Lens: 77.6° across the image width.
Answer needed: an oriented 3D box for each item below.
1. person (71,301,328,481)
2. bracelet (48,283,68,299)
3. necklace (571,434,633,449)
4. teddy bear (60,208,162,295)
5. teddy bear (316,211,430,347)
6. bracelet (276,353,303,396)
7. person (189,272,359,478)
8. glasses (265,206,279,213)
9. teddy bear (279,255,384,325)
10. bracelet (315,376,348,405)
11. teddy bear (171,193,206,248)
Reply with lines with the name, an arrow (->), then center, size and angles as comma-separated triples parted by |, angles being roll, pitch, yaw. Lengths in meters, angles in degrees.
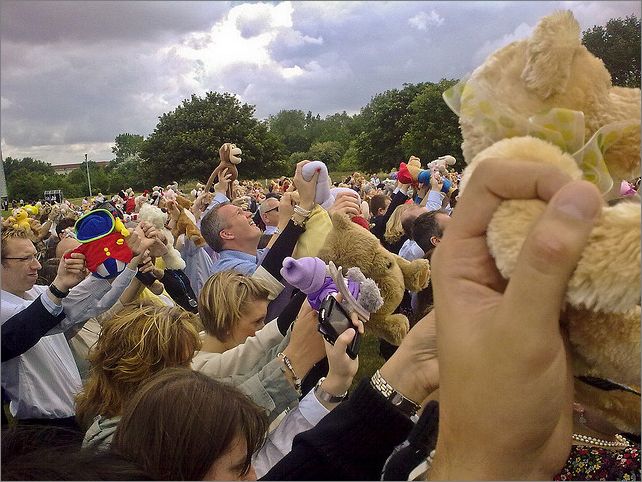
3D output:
person -> -0.647, 0.640, 2.506 | 1.410, 0.800, 0.471 | -16, 29, -14
bracelet -> -1.789, 0.346, 2.744 | 0.117, 0.083, 0.125 | 29, 6, 41
necklace -> 0.745, 0.534, 1.070 | 0.118, 0.030, 0.092 | 8, -18, 2
teddy bear -> -1.578, 0.006, 3.004 | 0.767, 0.554, 0.248 | -21, 9, -34
teddy bear -> 0.267, 0.220, 2.373 | 0.854, 0.727, 0.588 | -2, -1, -30
bracelet -> -0.141, 0.675, 2.060 | 0.052, 0.198, 0.152 | -26, 11, 4
person -> -0.222, 0.627, 1.897 | 0.542, 0.289, 0.798 | 28, 12, 4
glasses -> -0.684, -0.455, 5.691 | 0.172, 0.054, 0.174 | -18, 3, 0
teddy bear -> 0.055, 0.237, 1.949 | 0.494, 0.252, 0.302 | 21, 1, 1
bracelet -> 0.047, 0.640, 1.720 | 0.119, 0.080, 0.129 | 43, 8, 8
teddy bear -> -1.790, -0.268, 5.393 | 0.239, 0.487, 0.735 | 0, 39, -33
